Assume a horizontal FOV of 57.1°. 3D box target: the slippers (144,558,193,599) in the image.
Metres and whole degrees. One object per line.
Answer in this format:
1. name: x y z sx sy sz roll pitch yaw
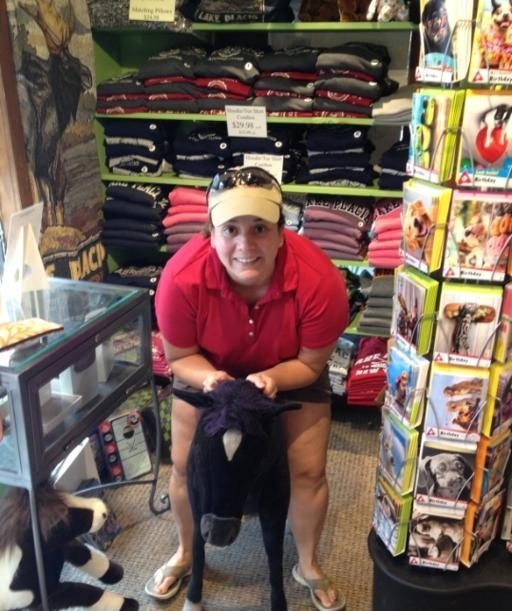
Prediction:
1. slippers: -0.299 0.901 1.581 0.098 0.061 0.246 16 -4 6

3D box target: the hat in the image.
1. hat: -0.025 -0.284 1.131 0.188 0.119 0.242 -3 26 -2
